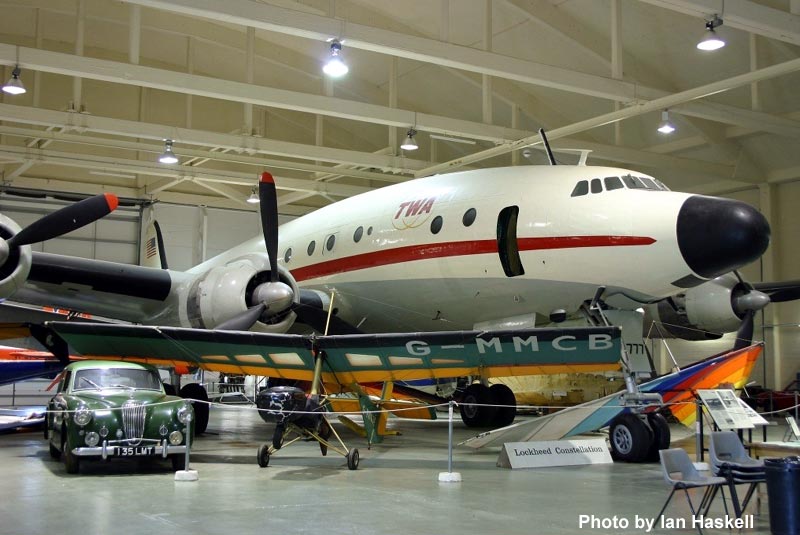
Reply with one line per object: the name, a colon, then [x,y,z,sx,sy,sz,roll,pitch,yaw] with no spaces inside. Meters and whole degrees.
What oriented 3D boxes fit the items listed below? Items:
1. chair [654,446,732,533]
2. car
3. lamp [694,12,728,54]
chair: [3.864,2.974,9.651,1.013,1.195,0.954,7,-13,-37]
car: [-4.509,2.285,11.642,1.615,1.056,2.590,5,-12,-24]
lamp: [6.211,-4.634,14.614,0.426,0.732,0.857,-1,-4,24]
